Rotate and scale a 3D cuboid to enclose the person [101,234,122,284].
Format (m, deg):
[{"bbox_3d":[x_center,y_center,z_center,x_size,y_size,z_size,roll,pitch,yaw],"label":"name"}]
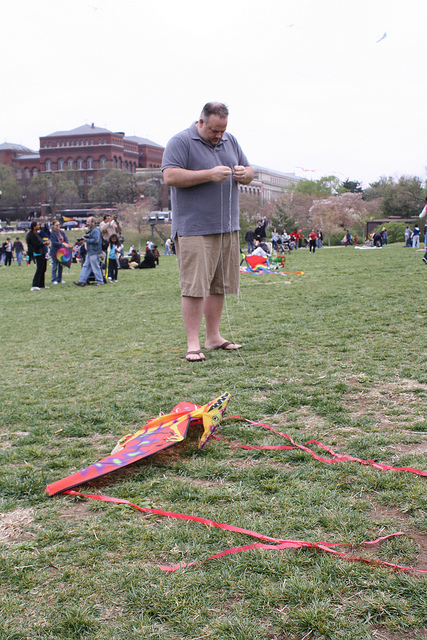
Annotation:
[{"bbox_3d":[-2.544,-1.599,16.512,0.428,1.196,0.428,10,14,43],"label":"person"}]

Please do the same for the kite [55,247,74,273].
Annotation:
[{"bbox_3d":[-3.670,-1.578,15.808,0.397,0.838,0.838,1,6,-2],"label":"kite"}]

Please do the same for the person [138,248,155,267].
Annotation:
[{"bbox_3d":[-2.300,-2.064,22.089,0.641,0.900,0.406,0,0,-22],"label":"person"}]

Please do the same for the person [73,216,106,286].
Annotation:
[{"bbox_3d":[-2.794,-1.544,14.529,0.664,1.536,1.243,-1,4,-11],"label":"person"}]

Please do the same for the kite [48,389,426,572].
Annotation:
[{"bbox_3d":[0.037,0.573,2.722,1.283,0.286,1.791,-3,5,-37],"label":"kite"}]

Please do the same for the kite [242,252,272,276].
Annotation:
[{"bbox_3d":[1.113,-1.446,16.749,0.603,0.527,1.231,-1,4,-2],"label":"kite"}]

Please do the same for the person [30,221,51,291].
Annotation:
[{"bbox_3d":[-3.805,-1.464,14.399,0.533,1.456,0.456,4,11,17],"label":"person"}]
